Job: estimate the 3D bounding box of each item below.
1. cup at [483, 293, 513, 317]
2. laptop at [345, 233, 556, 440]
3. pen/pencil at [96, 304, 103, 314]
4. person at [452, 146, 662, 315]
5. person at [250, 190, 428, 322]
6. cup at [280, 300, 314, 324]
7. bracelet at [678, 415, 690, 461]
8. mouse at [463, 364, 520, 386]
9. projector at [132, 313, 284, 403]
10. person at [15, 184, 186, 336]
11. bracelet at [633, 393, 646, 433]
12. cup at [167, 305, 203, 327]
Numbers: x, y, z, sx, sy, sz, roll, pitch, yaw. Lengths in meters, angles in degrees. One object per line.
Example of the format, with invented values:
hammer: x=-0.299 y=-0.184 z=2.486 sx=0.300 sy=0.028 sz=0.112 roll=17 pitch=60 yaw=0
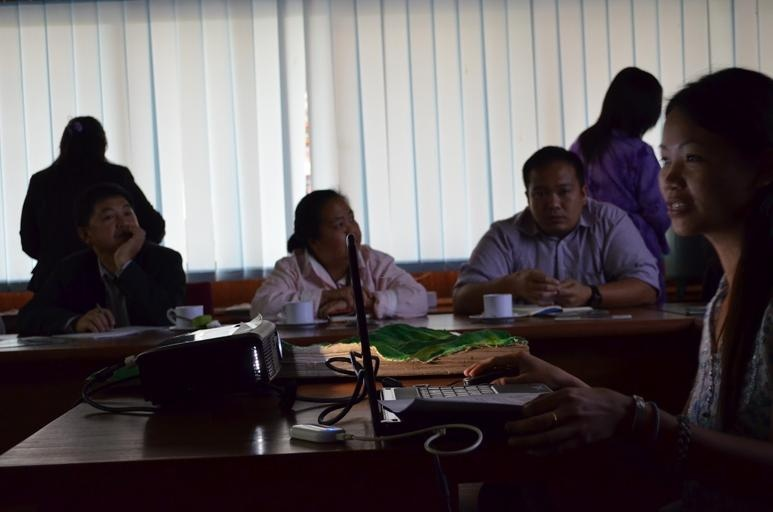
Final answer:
cup: x=0.408 y=0.172 z=2.383 sx=0.085 sy=0.067 sz=0.085 roll=0 pitch=6 yaw=0
laptop: x=0.119 y=0.101 z=1.445 sx=0.375 sy=0.340 sz=0.459 roll=-10 pitch=3 yaw=1
pen/pencil: x=-1.175 y=0.215 z=2.663 sx=0.022 sy=0.040 sz=0.014 roll=2 pitch=-15 yaw=-2
person: x=0.783 y=-0.079 z=3.013 sx=0.777 sy=0.724 sz=0.795 roll=-4 pitch=-9 yaw=13
person: x=-0.233 y=0.047 z=2.896 sx=0.814 sy=0.646 sz=0.524 roll=-6 pitch=-17 yaw=-20
cup: x=-0.341 y=0.219 z=2.519 sx=0.077 sy=0.082 sz=0.119 roll=0 pitch=-5 yaw=-25
bracelet: x=0.590 y=0.362 z=1.293 sx=0.019 sy=0.063 sz=0.046 roll=-2 pitch=6 yaw=26
mouse: x=0.245 y=0.283 z=1.533 sx=0.102 sy=0.025 sz=0.050 roll=-12 pitch=4 yaw=-1
projector: x=-0.397 y=0.198 z=1.460 sx=0.204 sy=0.074 sz=0.204 roll=-12 pitch=2 yaw=3
person: x=-1.383 y=0.014 z=3.126 sx=0.621 sy=0.554 sz=1.086 roll=-2 pitch=36 yaw=-25
bracelet: x=0.499 y=0.311 z=1.287 sx=0.018 sy=0.055 sz=0.039 roll=4 pitch=-3 yaw=33
cup: x=-0.806 y=0.227 z=2.575 sx=0.138 sy=0.091 sz=0.101 roll=-1 pitch=4 yaw=4
